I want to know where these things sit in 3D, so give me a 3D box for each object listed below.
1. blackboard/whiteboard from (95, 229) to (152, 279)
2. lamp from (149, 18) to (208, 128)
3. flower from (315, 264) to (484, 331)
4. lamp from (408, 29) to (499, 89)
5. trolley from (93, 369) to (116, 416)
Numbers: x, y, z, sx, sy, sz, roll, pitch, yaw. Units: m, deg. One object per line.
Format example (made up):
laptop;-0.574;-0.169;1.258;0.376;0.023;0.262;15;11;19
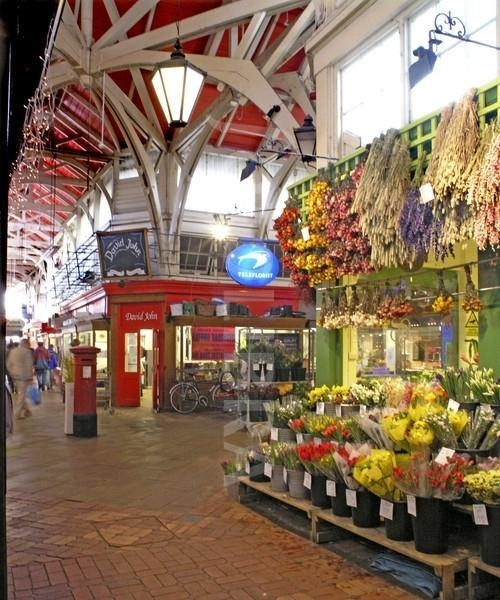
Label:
blackboard/whiteboard;-3.564;-1.322;14.897;1.519;1.375;0.155;0;7;26
lamp;-0.630;-1.810;4.528;0.441;0.550;0.308;-1;-4;-4
flower;1.133;0.008;4.798;0.365;0.572;2.020;9;-10;-34
lamp;1.568;-1.923;4.065;0.600;0.363;0.365;5;8;26
trolley;-4.386;2.699;15.074;0.729;1.302;0.982;2;-9;-19
